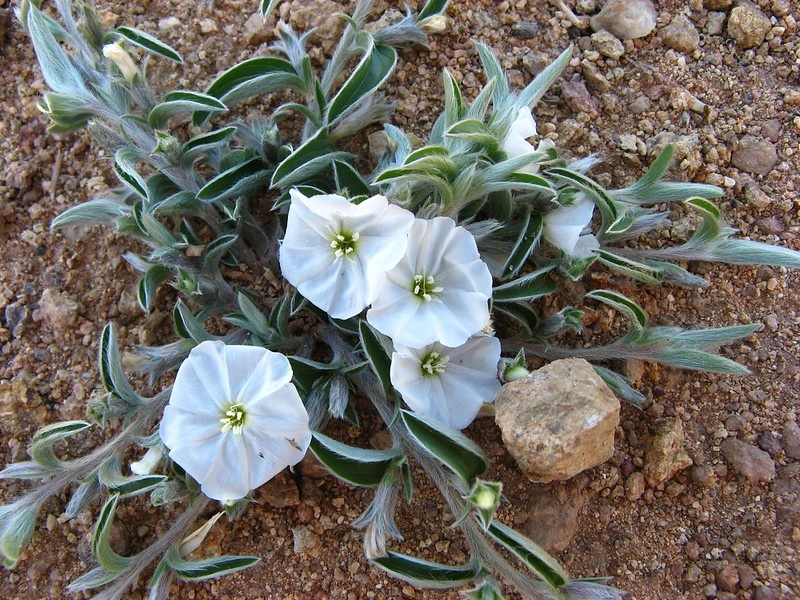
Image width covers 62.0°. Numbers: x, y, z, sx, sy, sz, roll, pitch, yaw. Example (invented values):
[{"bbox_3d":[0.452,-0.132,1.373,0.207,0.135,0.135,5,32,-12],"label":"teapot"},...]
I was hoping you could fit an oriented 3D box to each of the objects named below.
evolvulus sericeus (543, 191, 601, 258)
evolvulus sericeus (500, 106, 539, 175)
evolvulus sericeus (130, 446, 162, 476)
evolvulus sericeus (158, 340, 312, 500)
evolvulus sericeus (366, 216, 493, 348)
[{"bbox_3d":[0.725,-0.324,2.806,0.132,0.239,0.231,21,5,21],"label":"evolvulus sericeus"},{"bbox_3d":[0.485,-0.661,2.666,0.089,0.240,0.223,19,34,5],"label":"evolvulus sericeus"},{"bbox_3d":[-1.026,0.651,2.715,0.051,0.092,0.144,-35,22,33],"label":"evolvulus sericeus"},{"bbox_3d":[-0.655,0.437,2.588,0.572,0.588,0.177,-29,-7,-5],"label":"evolvulus sericeus"},{"bbox_3d":[0.096,-0.136,2.719,0.441,0.197,0.428,19,-34,-36],"label":"evolvulus sericeus"}]
